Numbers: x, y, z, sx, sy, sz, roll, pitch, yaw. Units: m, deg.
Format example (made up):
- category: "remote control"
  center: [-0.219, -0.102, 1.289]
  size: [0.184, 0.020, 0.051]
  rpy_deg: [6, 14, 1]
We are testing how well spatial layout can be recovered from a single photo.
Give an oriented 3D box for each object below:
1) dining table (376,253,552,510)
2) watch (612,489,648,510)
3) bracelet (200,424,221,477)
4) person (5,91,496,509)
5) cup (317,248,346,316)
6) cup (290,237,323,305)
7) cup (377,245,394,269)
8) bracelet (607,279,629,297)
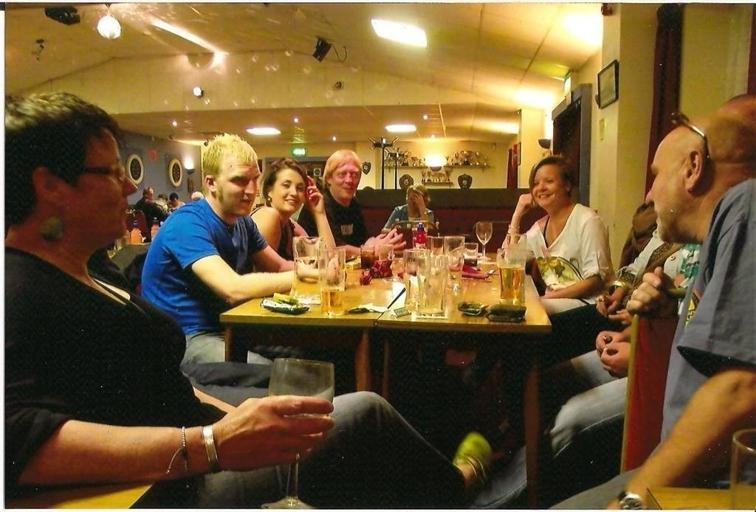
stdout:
- category: "dining table"
  center: [0.244, 0.320, 1.903]
  size: [0.629, 0.530, 1.112]
  rpy_deg: [0, 3, 8]
- category: "watch"
  center: [0.616, 0.596, 1.365]
  size: [0.054, 0.019, 0.051]
  rpy_deg: [0, -3, 36]
- category: "bracelet"
  center: [-0.379, 0.440, 1.280]
  size: [0.031, 0.100, 0.084]
  rpy_deg: [-10, 31, -4]
- category: "person"
  center: [-0.385, 0.199, 1.402]
  size: [0.951, 1.200, 0.543]
  rpy_deg: [-3, 14, -6]
- category: "cup"
  center: [-0.135, 0.084, 1.755]
  size: [0.134, 0.208, 0.129]
  rpy_deg: [-1, 0, 0]
- category: "cup"
  center: [-0.229, 0.047, 1.978]
  size: [0.138, 0.226, 0.135]
  rpy_deg: [0, 0, 0]
- category: "cup"
  center: [0.030, 0.006, 2.340]
  size: [0.088, 0.131, 0.083]
  rpy_deg: [1, -6, 0]
- category: "bracelet"
  center: [0.811, 0.104, 1.904]
  size: [0.022, 0.045, 0.050]
  rpy_deg: [-9, 0, -27]
